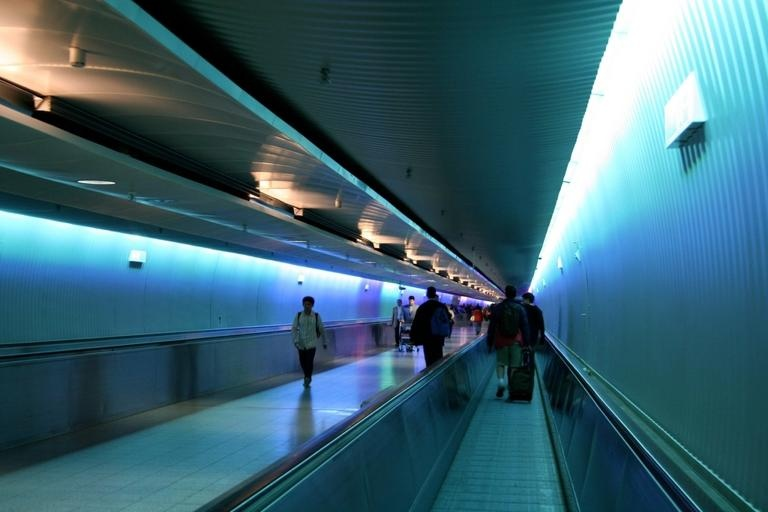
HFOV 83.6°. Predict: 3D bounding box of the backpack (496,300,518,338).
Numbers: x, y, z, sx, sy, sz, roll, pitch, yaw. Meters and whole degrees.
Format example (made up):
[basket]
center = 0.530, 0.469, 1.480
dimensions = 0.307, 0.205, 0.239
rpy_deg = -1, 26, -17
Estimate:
[backpack]
center = 2.684, 1.369, 9.352
dimensions = 0.455, 0.797, 0.171
rpy_deg = -1, -5, 13
